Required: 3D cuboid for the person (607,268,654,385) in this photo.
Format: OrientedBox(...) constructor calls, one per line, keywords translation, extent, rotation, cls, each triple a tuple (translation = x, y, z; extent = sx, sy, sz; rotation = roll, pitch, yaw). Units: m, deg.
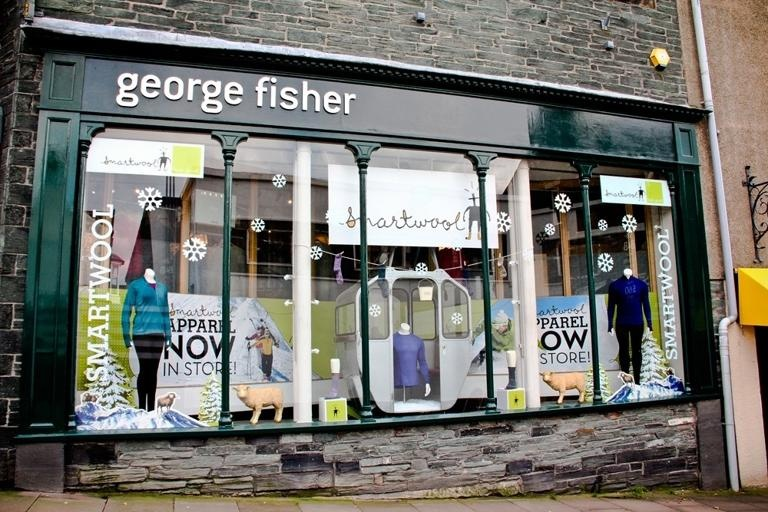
OrientedBox(translation=(3.981, 1.105, 12.827), extent=(0.711, 1.822, 0.204), rotation=(0, -9, -10), cls="person")
